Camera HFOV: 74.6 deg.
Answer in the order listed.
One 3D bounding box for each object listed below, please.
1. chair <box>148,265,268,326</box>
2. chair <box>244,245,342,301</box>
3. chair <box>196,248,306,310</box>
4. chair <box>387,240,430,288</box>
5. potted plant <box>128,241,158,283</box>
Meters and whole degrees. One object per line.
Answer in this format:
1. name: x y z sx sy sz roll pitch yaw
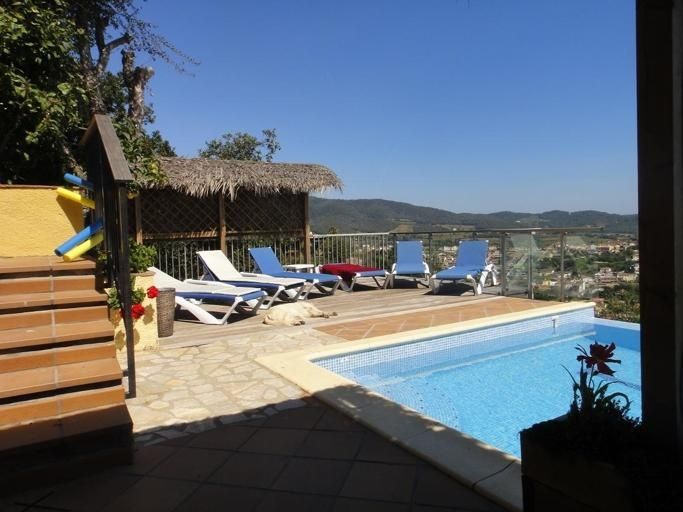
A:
1. chair: -2.364 0.594 7.291 2.155 0.615 1.057 2 9 22
2. chair: -1.050 0.310 9.164 1.826 0.883 0.999 5 7 33
3. chair: -1.723 0.368 8.564 1.891 0.753 0.991 6 8 18
4. chair: 1.506 0.109 10.244 0.853 0.760 1.285 0 3 3
5. potted plant: -2.387 -0.008 5.371 0.254 0.400 0.618 -4 6 -12
